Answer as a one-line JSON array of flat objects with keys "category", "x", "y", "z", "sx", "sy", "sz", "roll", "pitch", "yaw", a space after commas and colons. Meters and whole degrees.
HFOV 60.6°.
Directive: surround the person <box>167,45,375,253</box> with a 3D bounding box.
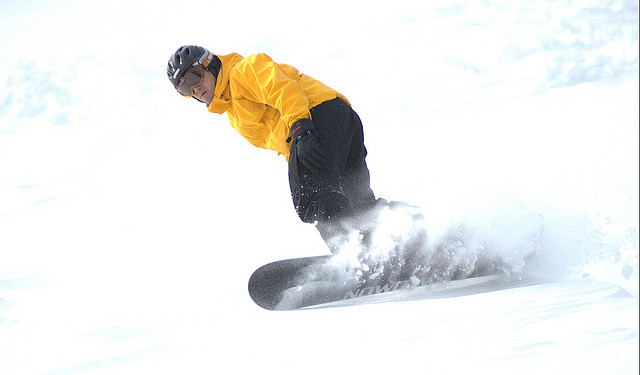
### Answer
[{"category": "person", "x": -0.399, "y": -0.439, "z": 5.944, "sx": 1.665, "sy": 2.291, "sz": 0.712, "roll": -11, "pitch": -1, "yaw": 13}]
